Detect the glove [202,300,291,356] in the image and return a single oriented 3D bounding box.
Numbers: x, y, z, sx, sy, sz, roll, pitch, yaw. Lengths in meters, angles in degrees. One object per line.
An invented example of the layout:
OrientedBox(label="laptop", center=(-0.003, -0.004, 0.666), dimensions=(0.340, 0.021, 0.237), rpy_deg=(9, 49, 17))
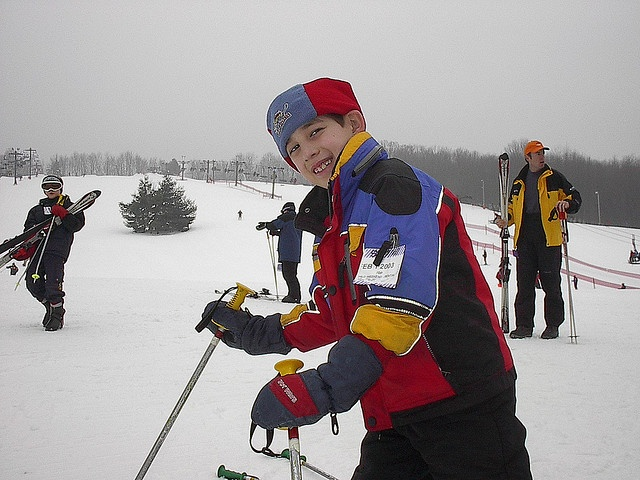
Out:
OrientedBox(label="glove", center=(-0.360, 0.442, 2.553), dimensions=(0.370, 0.175, 0.264), rpy_deg=(10, -9, 30))

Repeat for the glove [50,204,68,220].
OrientedBox(label="glove", center=(-3.162, -0.342, 6.171), dimensions=(0.164, 0.156, 0.067), rpy_deg=(31, -10, -14))

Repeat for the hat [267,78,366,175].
OrientedBox(label="hat", center=(-0.012, -0.542, 2.441), dimensions=(0.398, 0.245, 0.449), rpy_deg=(-31, -29, 19))

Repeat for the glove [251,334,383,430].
OrientedBox(label="glove", center=(-0.013, 0.575, 1.931), dimensions=(0.481, 0.186, 0.325), rpy_deg=(-15, 20, -7))

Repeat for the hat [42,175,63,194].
OrientedBox(label="hat", center=(-3.415, -0.726, 6.531), dimensions=(0.196, 0.240, 0.280), rpy_deg=(-15, 0, -15))

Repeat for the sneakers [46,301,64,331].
OrientedBox(label="sneakers", center=(-2.995, 0.870, 5.735), dimensions=(0.194, 0.274, 0.455), rpy_deg=(-2, 6, -29))

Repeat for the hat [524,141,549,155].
OrientedBox(label="hat", center=(2.423, -1.039, 5.711), dimensions=(0.148, 0.137, 0.208), rpy_deg=(-13, 7, -31))

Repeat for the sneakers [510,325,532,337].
OrientedBox(label="sneakers", center=(2.191, 1.000, 5.573), dimensions=(0.227, 0.103, 0.106), rpy_deg=(9, -14, -40))

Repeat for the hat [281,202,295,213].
OrientedBox(label="hat", center=(-0.587, -0.594, 9.449), dimensions=(0.208, 0.210, 0.167), rpy_deg=(-22, -28, 37))
